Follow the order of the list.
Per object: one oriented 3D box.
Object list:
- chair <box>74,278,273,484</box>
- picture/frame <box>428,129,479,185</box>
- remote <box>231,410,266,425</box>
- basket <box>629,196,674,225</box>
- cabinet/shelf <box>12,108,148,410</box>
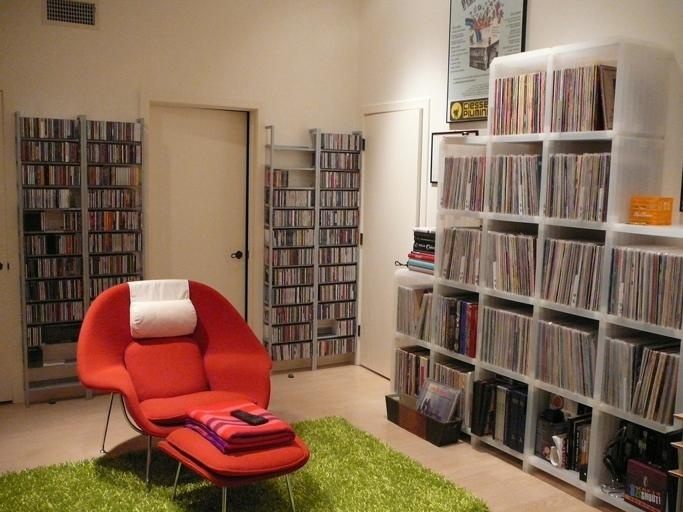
[{"bbox_3d":[-1.139,0.843,3.832,1.340,1.280,1.045,3,2,-38],"label":"chair"},{"bbox_3d":[0.957,-0.930,4.724,0.409,0.468,0.111,1,1,11],"label":"picture/frame"},{"bbox_3d":[-0.547,0.945,3.256,0.248,0.045,0.117,3,9,35],"label":"remote"},{"bbox_3d":[1.848,-0.264,3.293,0.216,0.171,0.140,2,9,26],"label":"basket"},{"bbox_3d":[-2.277,0.030,4.941,1.055,2.611,0.328,0,19,-27],"label":"cabinet/shelf"}]
